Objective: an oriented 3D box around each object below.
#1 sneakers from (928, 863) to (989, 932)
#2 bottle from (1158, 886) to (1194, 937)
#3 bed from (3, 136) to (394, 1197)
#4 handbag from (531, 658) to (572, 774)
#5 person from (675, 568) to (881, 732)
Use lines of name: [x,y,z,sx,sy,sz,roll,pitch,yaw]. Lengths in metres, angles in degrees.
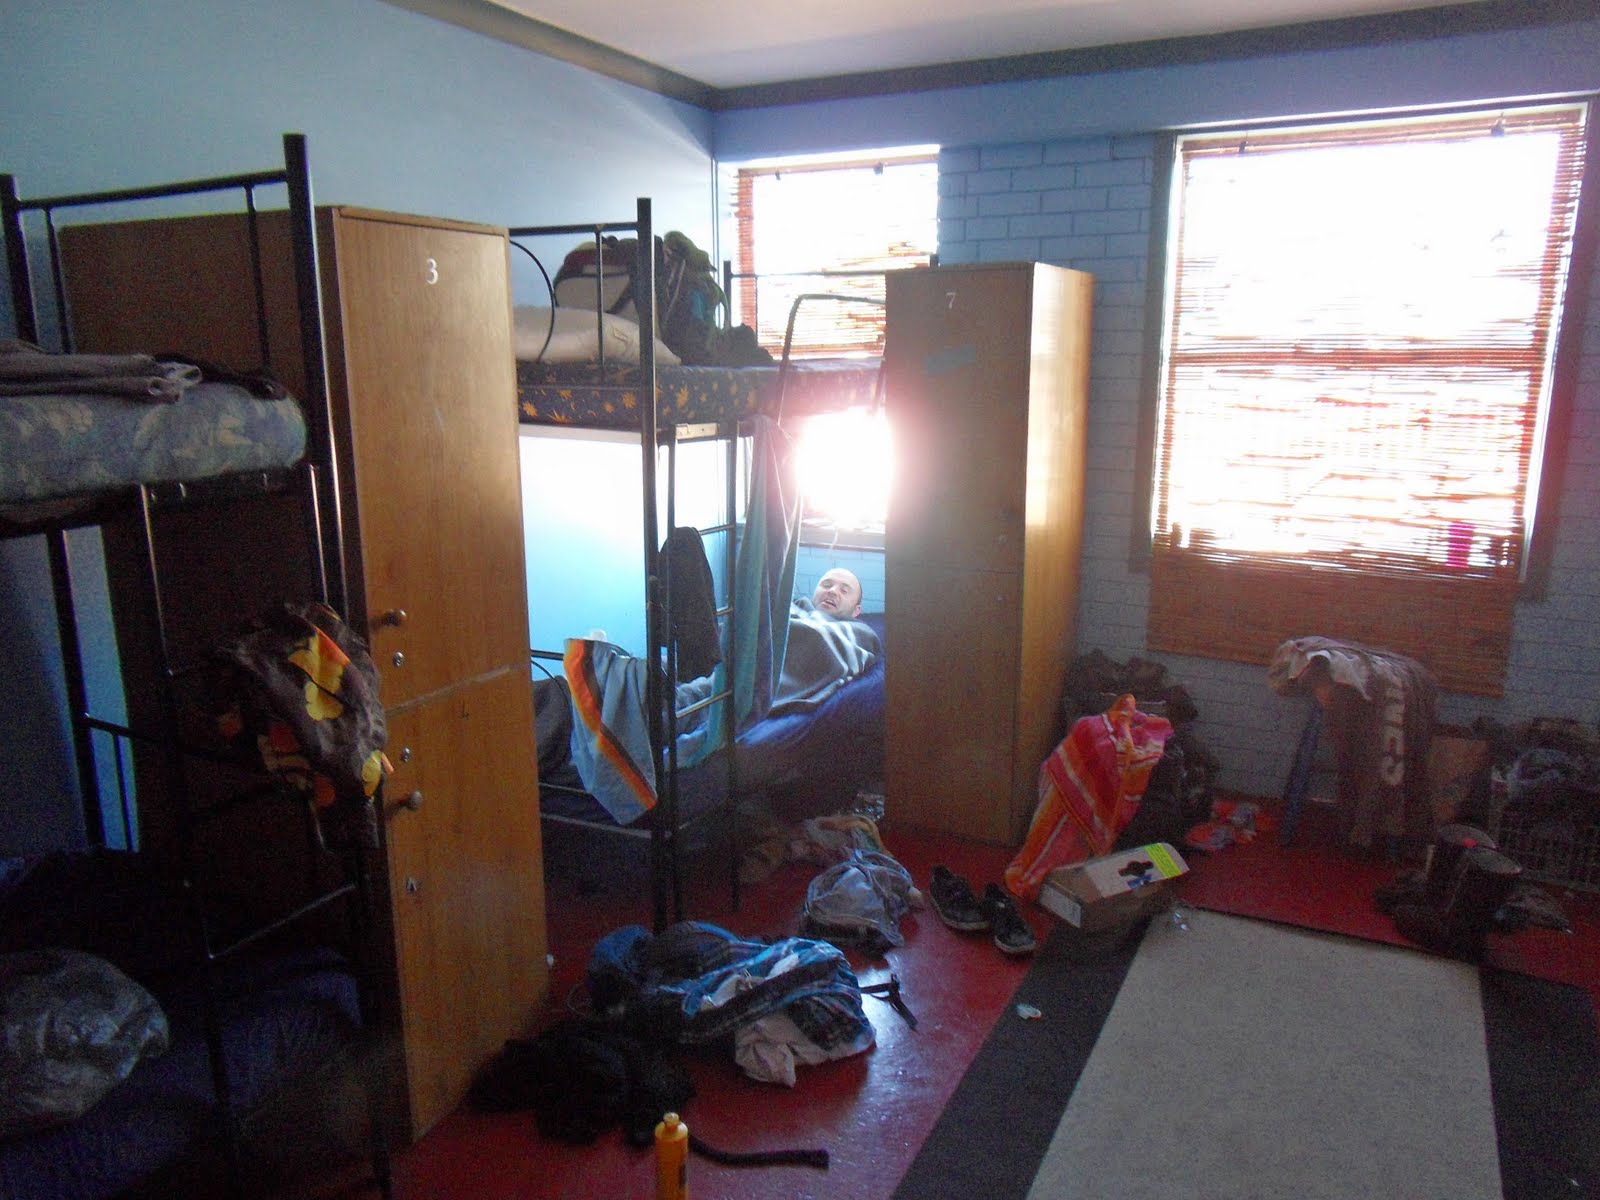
sneakers: [0.626,1.188,4.831,0.110,0.103,0.268,-5,8,-24]
bottle: [1.488,1.225,4.781,0.153,0.170,0.105,-10,6,-10]
bed: [-1.844,0.181,3.729,0.865,2.960,2.020,-6,15,-23]
handbag: [-1.031,0.512,5.082,0.243,0.350,0.107,-9,-22,32]
person: [0.110,0.235,5.929,0.547,0.366,0.827,21,19,38]
